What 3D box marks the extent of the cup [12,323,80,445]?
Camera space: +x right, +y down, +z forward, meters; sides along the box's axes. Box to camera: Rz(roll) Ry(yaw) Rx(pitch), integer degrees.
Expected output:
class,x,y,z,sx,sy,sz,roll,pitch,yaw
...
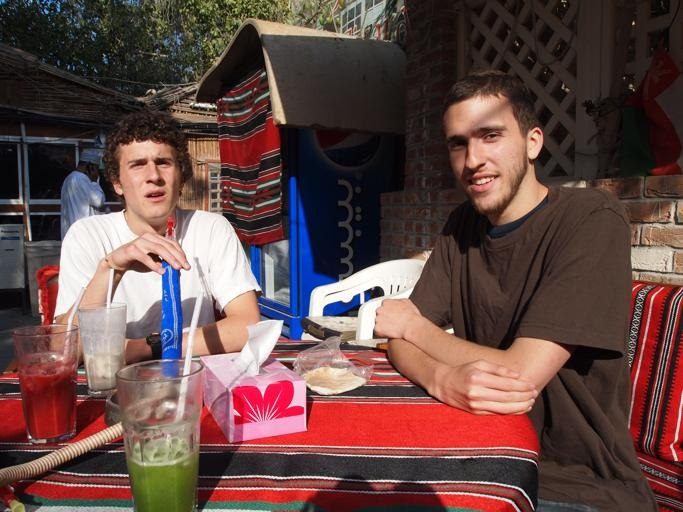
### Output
class,x,y,z,sx,sy,sz,roll,pitch,yaw
cup,-0.798,0.350,1.526,0.166,0.344,0.156,0,-1,0

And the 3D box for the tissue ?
class,x,y,z,sx,sy,sz,roll,pitch,yaw
tissue ,-0.271,0.287,1.629,0.247,0.368,0.353,0,4,-24

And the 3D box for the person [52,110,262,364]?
class,x,y,z,sx,sy,sz,roll,pitch,yaw
person,-0.777,-0.025,2.402,0.688,1.449,0.782,-2,8,-34

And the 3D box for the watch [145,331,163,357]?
class,x,y,z,sx,sy,sz,roll,pitch,yaw
watch,-0.585,0.282,1.759,0.077,0.086,0.062,-3,3,-4

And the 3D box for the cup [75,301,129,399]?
class,x,y,z,sx,sy,sz,roll,pitch,yaw
cup,-0.718,0.271,1.722,0.164,0.414,0.181,3,4,0
